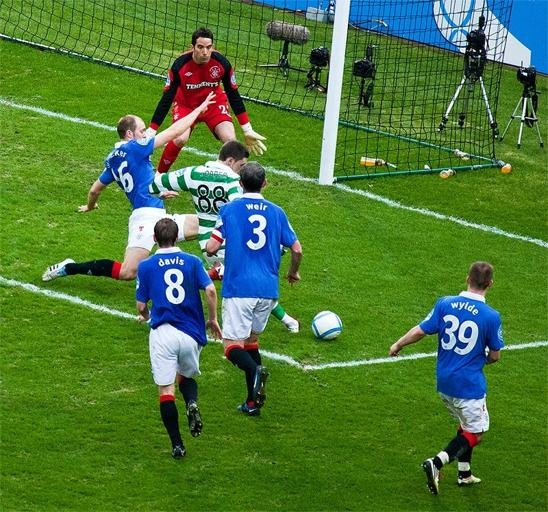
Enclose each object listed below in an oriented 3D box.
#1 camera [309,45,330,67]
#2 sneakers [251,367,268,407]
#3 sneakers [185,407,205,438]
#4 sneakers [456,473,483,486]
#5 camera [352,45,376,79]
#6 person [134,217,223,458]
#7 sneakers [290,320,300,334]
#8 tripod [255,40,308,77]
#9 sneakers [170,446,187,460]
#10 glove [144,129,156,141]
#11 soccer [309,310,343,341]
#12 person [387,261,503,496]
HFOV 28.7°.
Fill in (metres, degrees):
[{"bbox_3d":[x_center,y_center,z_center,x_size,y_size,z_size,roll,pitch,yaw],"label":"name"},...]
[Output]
[{"bbox_3d":[0.775,-3.435,18.431,0.310,0.367,0.392,6,22,10],"label":"camera"},{"bbox_3d":[-0.127,1.133,9.226,0.114,0.365,0.168,6,12,0],"label":"sneakers"},{"bbox_3d":[-0.665,1.382,9.017,0.104,0.288,0.132,-8,4,-10],"label":"sneakers"},{"bbox_3d":[1.660,1.921,9.157,0.225,0.097,0.076,-3,23,-7],"label":"sneakers"},{"bbox_3d":[1.555,-3.273,17.990,0.371,0.518,0.376,14,10,1],"label":"camera"},{"bbox_3d":[-0.874,0.693,9.143,0.726,1.973,0.707,7,12,5],"label":"person"},{"bbox_3d":[0.209,0.724,10.909,0.096,0.116,0.126,8,20,6],"label":"sneakers"},{"bbox_3d":[0.154,-3.564,19.729,0.799,0.717,0.807,3,52,-4],"label":"tripod"},{"bbox_3d":[-0.804,1.659,9.014,0.096,0.116,0.122,2,-7,-13],"label":"sneakers"},{"bbox_3d":[-1.265,-1.243,10.900,0.101,0.132,0.331,9,19,-8],"label":"glove"},{"bbox_3d":[0.552,0.712,10.865,0.327,0.287,0.230,5,12,-7],"label":"soccer"},{"bbox_3d":[1.556,0.993,9.109,0.667,1.913,0.699,1,13,-23],"label":"person"}]
